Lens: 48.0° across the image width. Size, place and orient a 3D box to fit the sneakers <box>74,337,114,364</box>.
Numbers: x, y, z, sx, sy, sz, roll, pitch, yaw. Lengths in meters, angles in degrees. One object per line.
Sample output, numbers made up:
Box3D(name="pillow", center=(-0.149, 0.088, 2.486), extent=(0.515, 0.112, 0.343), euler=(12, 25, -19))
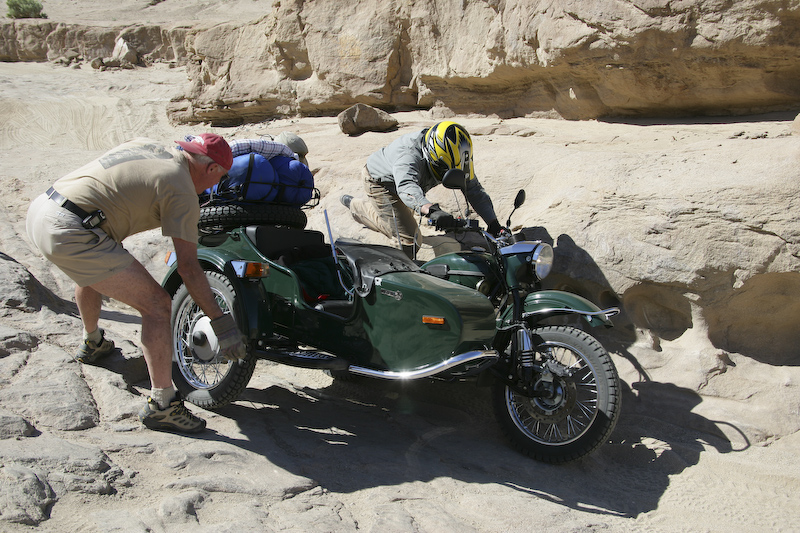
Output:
Box3D(name="sneakers", center=(-3.217, 0.916, 9.606), extent=(0.169, 0.190, 0.451), euler=(24, 21, 21))

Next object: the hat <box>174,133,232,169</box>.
Box3D(name="hat", center=(-1.937, -1.187, 8.978), extent=(0.535, 0.259, 0.322), euler=(17, 13, -25))
